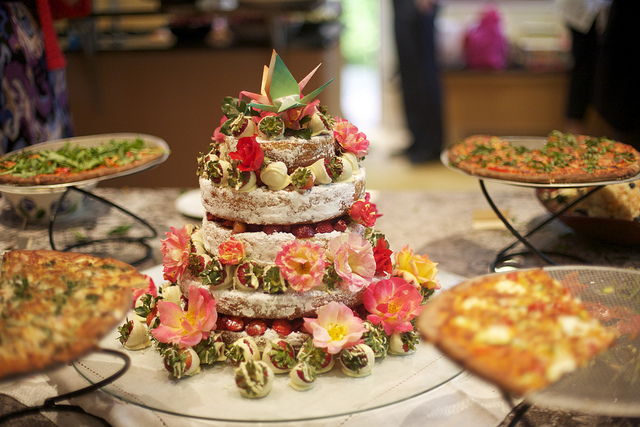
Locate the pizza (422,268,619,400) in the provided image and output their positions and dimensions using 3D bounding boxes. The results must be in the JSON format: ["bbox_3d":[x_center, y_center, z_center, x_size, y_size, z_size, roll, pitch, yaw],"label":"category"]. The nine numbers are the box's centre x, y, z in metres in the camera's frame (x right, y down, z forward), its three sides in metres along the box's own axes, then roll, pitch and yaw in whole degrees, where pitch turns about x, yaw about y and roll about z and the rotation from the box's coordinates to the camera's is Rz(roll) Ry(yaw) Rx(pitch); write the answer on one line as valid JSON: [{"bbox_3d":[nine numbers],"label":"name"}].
[{"bbox_3d":[0.515,0.295,1.373,0.518,0.150,0.308,-14,29,-29],"label":"pizza"}]

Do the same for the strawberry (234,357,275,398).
[{"bbox_3d":[-0.222,0.544,1.744,0.106,0.103,0.100,16,30,30],"label":"strawberry"}]

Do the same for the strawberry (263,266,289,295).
[{"bbox_3d":[-0.156,0.229,1.836,0.093,0.086,0.044,0,7,12],"label":"strawberry"}]

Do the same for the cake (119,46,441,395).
[{"bbox_3d":[-0.168,-0.121,2.149,1.207,0.996,1.191,8,21,22],"label":"cake"}]

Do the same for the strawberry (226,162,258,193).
[{"bbox_3d":[-0.270,-0.122,1.837,0.097,0.101,0.056,-2,27,-3],"label":"strawberry"}]

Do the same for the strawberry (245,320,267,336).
[{"bbox_3d":[-0.228,0.407,1.885,0.061,0.032,0.050,-25,43,-23],"label":"strawberry"}]

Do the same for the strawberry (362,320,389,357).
[{"bbox_3d":[0.189,0.454,1.936,0.122,0.050,0.116,33,29,-21],"label":"strawberry"}]

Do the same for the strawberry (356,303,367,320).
[{"bbox_3d":[0.161,0.371,1.996,0.050,0.025,0.051,52,5,23],"label":"strawberry"}]

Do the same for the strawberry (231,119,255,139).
[{"bbox_3d":[-0.276,-0.303,1.887,0.084,0.071,0.038,-8,28,-15],"label":"strawberry"}]

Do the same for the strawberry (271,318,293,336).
[{"bbox_3d":[-0.134,0.402,1.887,0.064,0.034,0.061,7,44,-18],"label":"strawberry"}]

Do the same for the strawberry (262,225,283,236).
[{"bbox_3d":[-0.168,0.054,1.882,0.070,0.029,0.021,-2,26,-4],"label":"strawberry"}]

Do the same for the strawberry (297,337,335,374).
[{"bbox_3d":[-0.021,0.499,1.834,0.111,0.106,0.094,11,28,21],"label":"strawberry"}]

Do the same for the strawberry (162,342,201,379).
[{"bbox_3d":[-0.471,0.494,1.836,0.125,0.114,0.151,-6,-3,0],"label":"strawberry"}]

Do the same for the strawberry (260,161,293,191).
[{"bbox_3d":[-0.155,-0.132,1.855,0.113,0.090,0.056,-1,27,-2],"label":"strawberry"}]

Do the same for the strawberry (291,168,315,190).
[{"bbox_3d":[-0.049,-0.121,1.845,0.094,0.070,0.047,-15,30,-28],"label":"strawberry"}]

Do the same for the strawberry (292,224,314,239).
[{"bbox_3d":[-0.060,0.063,1.886,0.056,0.031,0.055,0,-10,21],"label":"strawberry"}]

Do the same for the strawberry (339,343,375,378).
[{"bbox_3d":[0.128,0.509,1.829,0.122,0.102,0.097,2,26,4],"label":"strawberry"}]

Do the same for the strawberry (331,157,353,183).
[{"bbox_3d":[0.079,-0.162,1.945,0.081,0.086,0.049,-3,2,-25],"label":"strawberry"}]

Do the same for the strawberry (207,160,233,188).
[{"bbox_3d":[-0.361,-0.148,1.931,0.102,0.086,0.094,2,65,10],"label":"strawberry"}]

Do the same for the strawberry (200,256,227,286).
[{"bbox_3d":[-0.383,0.205,1.872,0.101,0.096,0.062,0,-13,-2],"label":"strawberry"}]

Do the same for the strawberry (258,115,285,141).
[{"bbox_3d":[-0.172,-0.307,1.870,0.094,0.090,0.034,-1,17,-5],"label":"strawberry"}]

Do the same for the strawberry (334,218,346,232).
[{"bbox_3d":[0.075,0.037,1.951,0.042,0.038,0.038,0,-2,-6],"label":"strawberry"}]

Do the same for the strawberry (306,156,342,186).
[{"bbox_3d":[0.021,-0.149,1.898,0.071,0.085,0.116,13,15,23],"label":"strawberry"}]

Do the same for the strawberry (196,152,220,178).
[{"bbox_3d":[-0.422,-0.181,1.954,0.090,0.036,0.083,2,42,2],"label":"strawberry"}]

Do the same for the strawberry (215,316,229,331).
[{"bbox_3d":[-0.356,0.398,1.920,0.039,0.043,0.019,1,-16,34],"label":"strawberry"}]

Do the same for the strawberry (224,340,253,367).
[{"bbox_3d":[-0.288,0.491,1.852,0.081,0.030,0.077,8,50,26],"label":"strawberry"}]

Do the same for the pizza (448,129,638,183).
[{"bbox_3d":[1.019,-0.269,2.391,0.836,0.084,0.583,5,25,11],"label":"pizza"}]

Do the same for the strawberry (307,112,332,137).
[{"bbox_3d":[-0.003,-0.328,1.947,0.096,0.064,0.078,18,5,-24],"label":"strawberry"}]
